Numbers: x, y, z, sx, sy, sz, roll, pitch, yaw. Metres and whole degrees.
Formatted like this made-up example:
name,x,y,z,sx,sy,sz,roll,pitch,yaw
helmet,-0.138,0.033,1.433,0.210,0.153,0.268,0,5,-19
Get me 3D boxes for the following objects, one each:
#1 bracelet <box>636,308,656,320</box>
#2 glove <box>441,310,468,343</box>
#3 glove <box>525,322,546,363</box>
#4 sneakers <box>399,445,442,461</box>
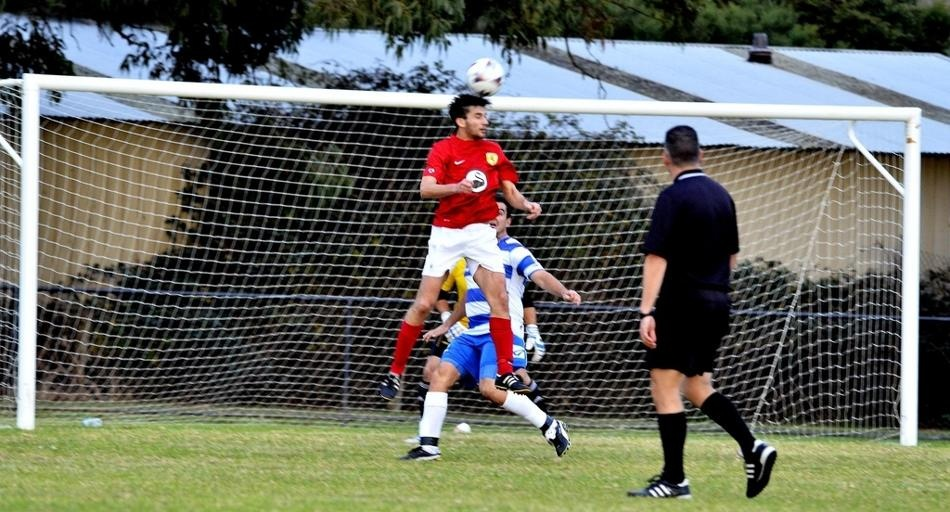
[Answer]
name,x,y,z,sx,sy,sz,roll,pitch,yaw
bracelet,2.088,0.700,16.301,0.194,0.131,0.373,1,-5,9
glove,-0.278,0.948,18.298,0.381,0.422,0.171,-15,-47,-19
glove,0.818,1.169,18.341,0.179,0.451,0.433,-14,-20,33
sneakers,-0.678,2.543,17.382,0.571,0.177,0.177,2,-4,-5
